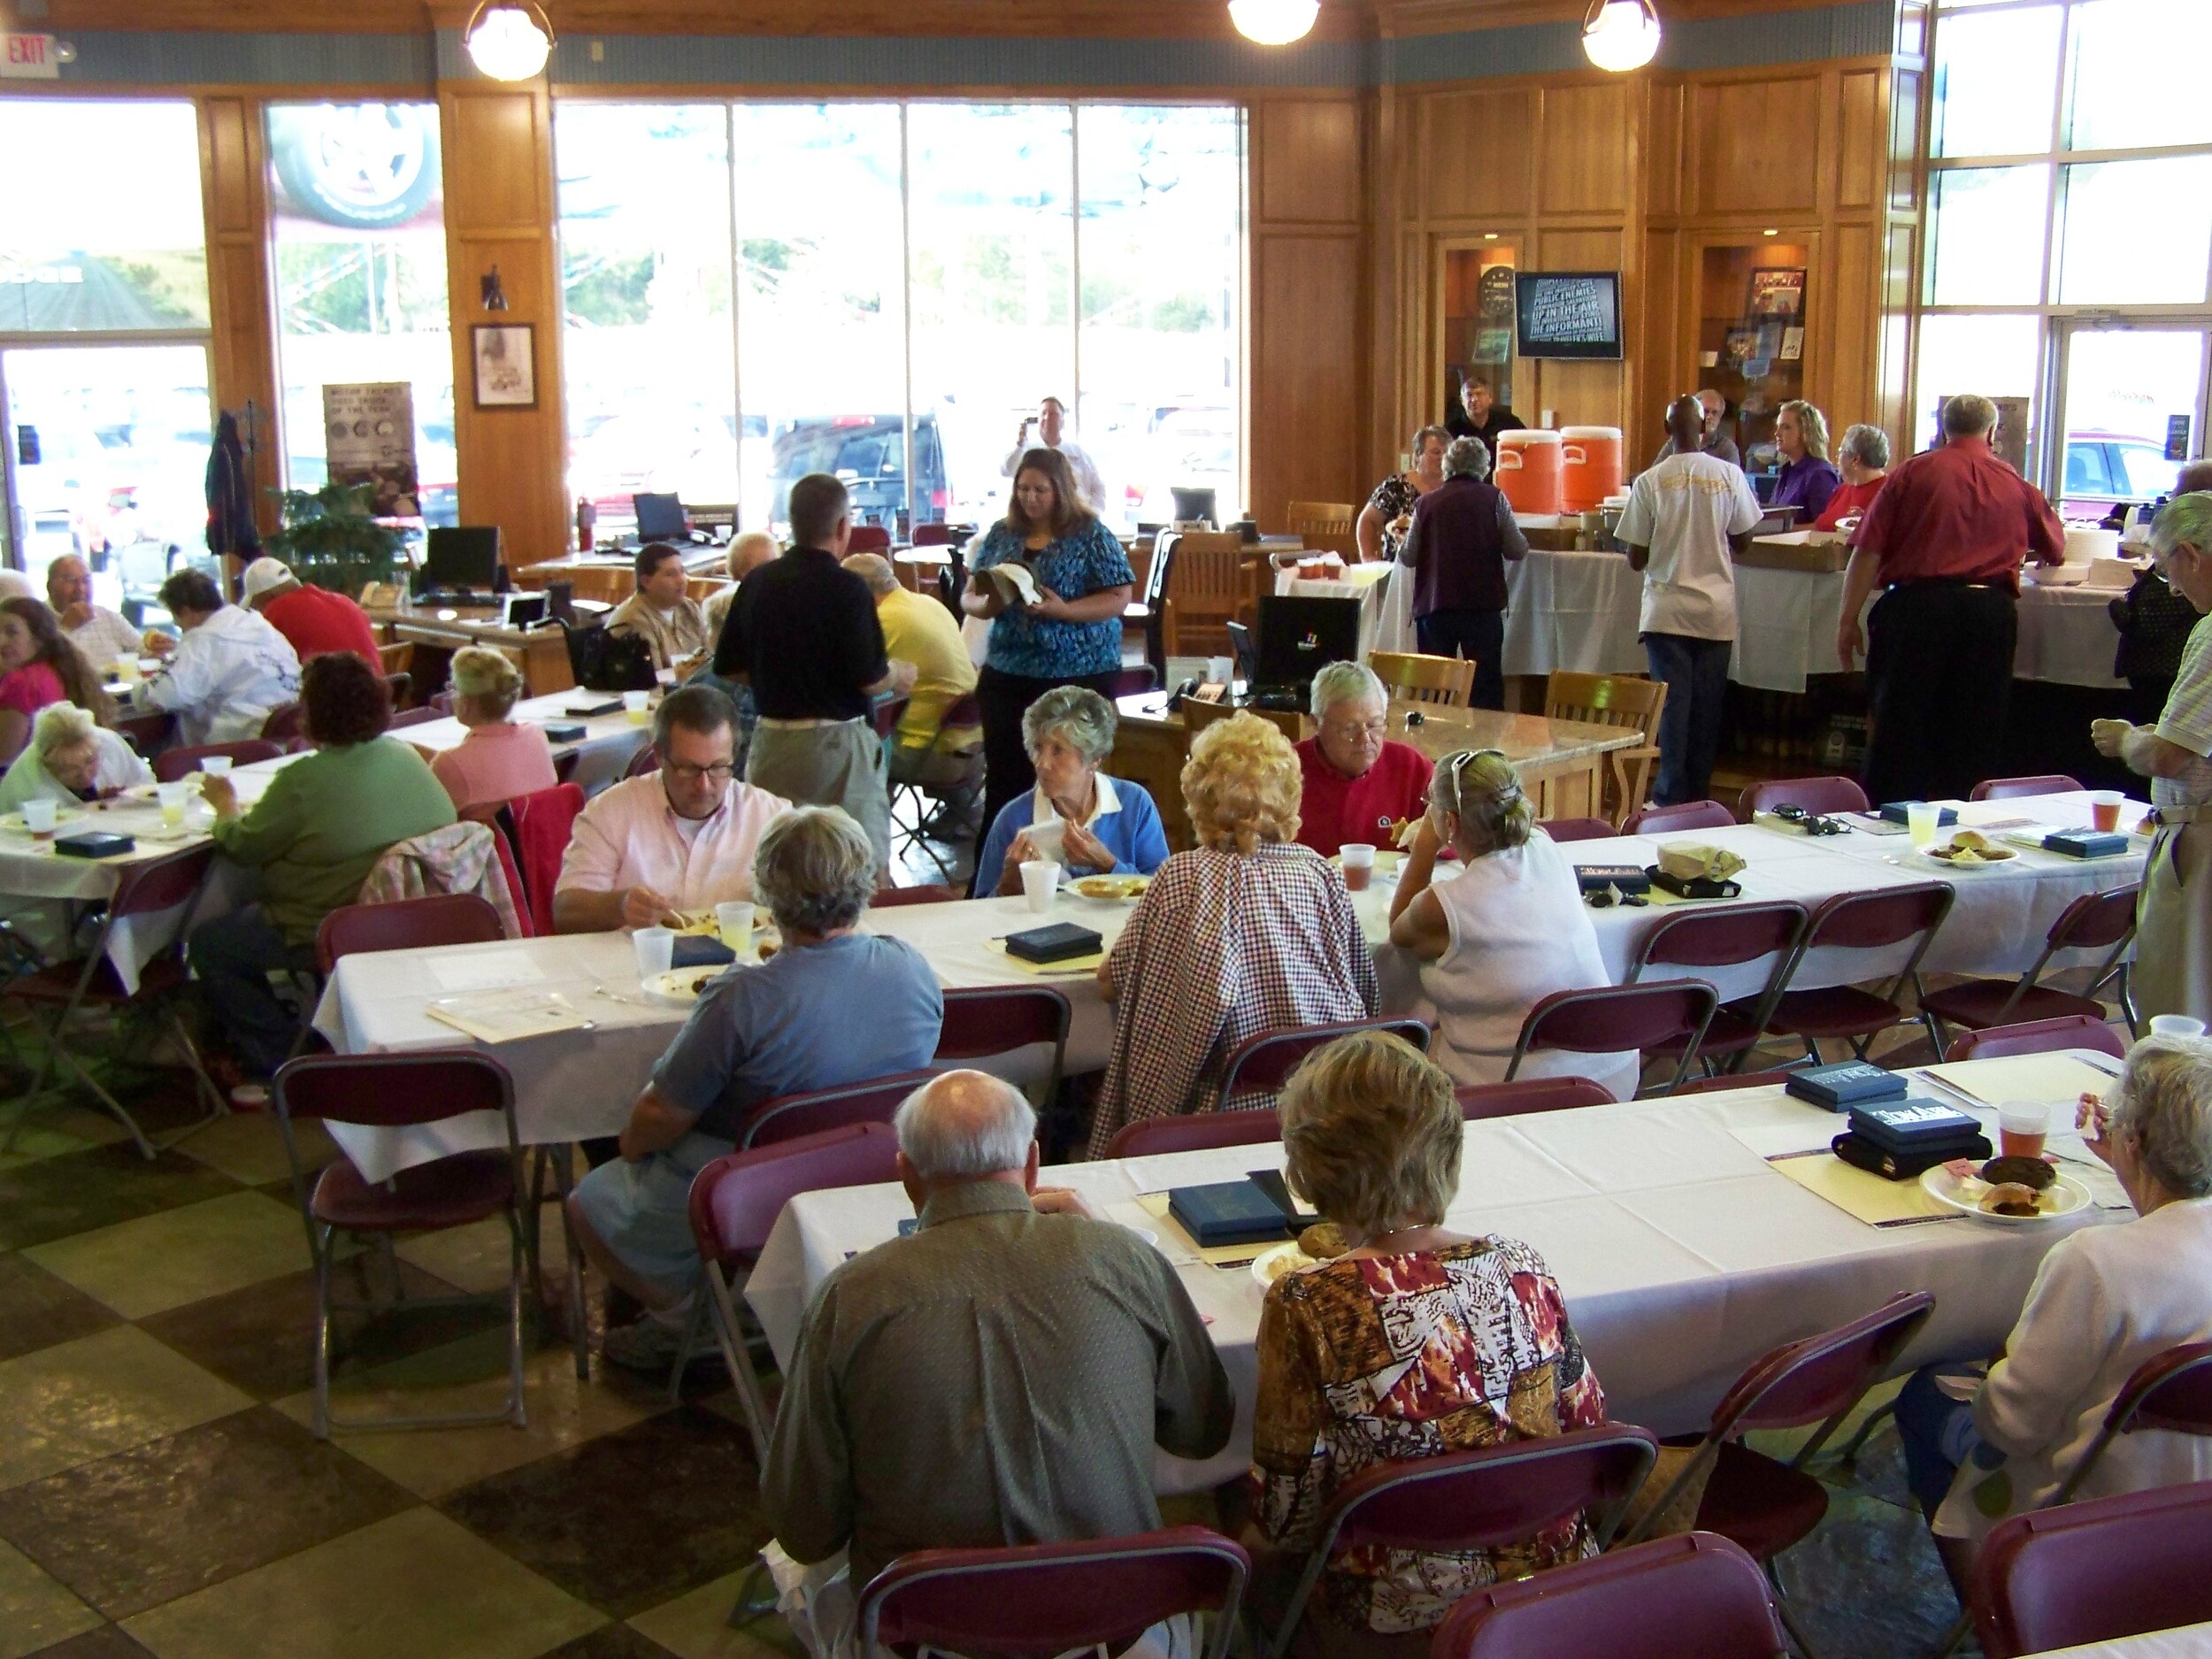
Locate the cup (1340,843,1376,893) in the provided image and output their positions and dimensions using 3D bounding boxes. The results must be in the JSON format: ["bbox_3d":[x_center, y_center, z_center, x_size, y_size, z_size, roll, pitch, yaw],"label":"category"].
[{"bbox_3d":[0.658,0.102,4.358,0.107,0.106,0.105,2,12,0],"label":"cup"}]

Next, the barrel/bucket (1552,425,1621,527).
[{"bbox_3d":[2.681,-1.951,9.164,0.488,0.503,0.470,0,16,0],"label":"barrel/bucket"}]

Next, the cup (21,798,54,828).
[{"bbox_3d":[-3.363,-0.048,5.226,0.090,0.061,0.088,-1,4,0],"label":"cup"}]

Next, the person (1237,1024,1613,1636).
[{"bbox_3d":[0.417,0.729,2.231,0.484,0.809,0.402,4,14,19],"label":"person"}]

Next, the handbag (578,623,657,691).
[{"bbox_3d":[-2.136,-0.740,7.260,0.369,0.247,0.208,4,5,27],"label":"handbag"}]

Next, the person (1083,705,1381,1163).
[{"bbox_3d":[0.288,0.361,3.801,0.726,1.111,0.620,-3,11,-13],"label":"person"}]

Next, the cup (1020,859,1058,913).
[{"bbox_3d":[-0.168,0.150,4.344,0.110,0.109,0.108,2,14,-1],"label":"cup"}]

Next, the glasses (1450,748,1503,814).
[{"bbox_3d":[0.823,-0.111,3.714,0.119,0.117,0.051,-3,32,-8],"label":"glasses"}]

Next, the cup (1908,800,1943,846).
[{"bbox_3d":[2.437,-0.011,4.953,0.113,0.114,0.113,7,6,-1],"label":"cup"}]

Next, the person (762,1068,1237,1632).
[{"bbox_3d":[-0.148,0.746,2.216,0.521,0.751,0.376,-12,17,-41],"label":"person"}]

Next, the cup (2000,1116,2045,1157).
[{"bbox_3d":[1.583,0.531,2.876,0.063,0.063,0.060,-1,15,0],"label":"cup"}]

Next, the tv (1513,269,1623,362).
[{"bbox_3d":[3.395,-3.766,12.123,0.742,0.553,0.094,6,13,28],"label":"tv"}]

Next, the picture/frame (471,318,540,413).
[{"bbox_3d":[-4.543,-3.538,12.571,0.691,0.813,0.058,1,11,5],"label":"picture/frame"}]

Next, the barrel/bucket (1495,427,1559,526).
[{"bbox_3d":[2.298,-1.933,9.084,0.489,0.483,0.452,1,6,0],"label":"barrel/bucket"}]

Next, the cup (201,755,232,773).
[{"bbox_3d":[-2.998,-0.213,5.622,0.110,0.076,0.104,1,10,0],"label":"cup"}]

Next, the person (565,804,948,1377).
[{"bbox_3d":[-0.786,0.555,3.549,0.780,1.178,0.724,8,9,18],"label":"person"}]

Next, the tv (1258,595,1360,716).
[{"bbox_3d":[0.711,-0.659,6.310,0.467,0.412,0.400,1,12,2],"label":"tv"}]
